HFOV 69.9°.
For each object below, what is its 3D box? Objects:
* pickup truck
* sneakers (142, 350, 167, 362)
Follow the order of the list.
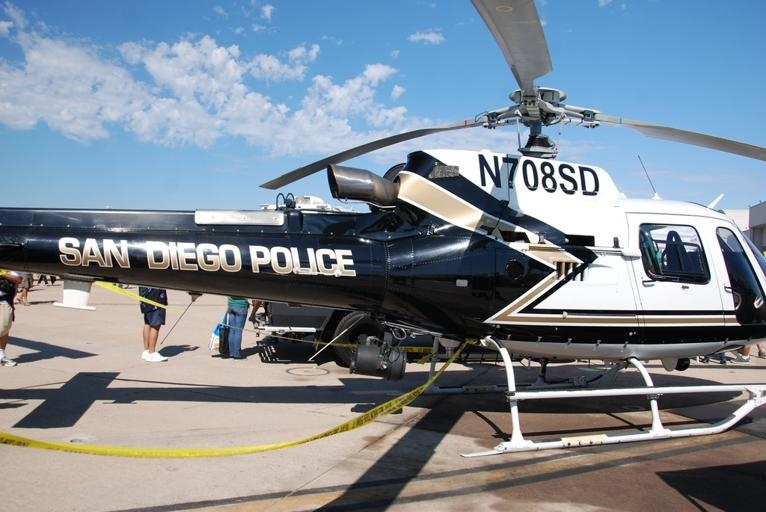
[{"bbox_3d":[1.306,1.678,12.346,9.288,1.443,1.633,0,-30,-8],"label":"pickup truck"},{"bbox_3d":[-5.052,2.119,11.667,0.747,0.166,0.199,1,-2,-5],"label":"sneakers"}]
